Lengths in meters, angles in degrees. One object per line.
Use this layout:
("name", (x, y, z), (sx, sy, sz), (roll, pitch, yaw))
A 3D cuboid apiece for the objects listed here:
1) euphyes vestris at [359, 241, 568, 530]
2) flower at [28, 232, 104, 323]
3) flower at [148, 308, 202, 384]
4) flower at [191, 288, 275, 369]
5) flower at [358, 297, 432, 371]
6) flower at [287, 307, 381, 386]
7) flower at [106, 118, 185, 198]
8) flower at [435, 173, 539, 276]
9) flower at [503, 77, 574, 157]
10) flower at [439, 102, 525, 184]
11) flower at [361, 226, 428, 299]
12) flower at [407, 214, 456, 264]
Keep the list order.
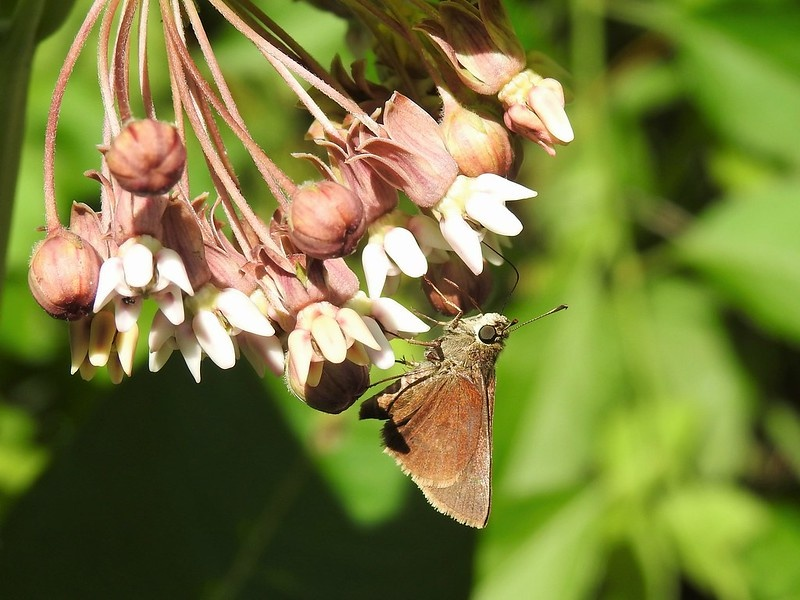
("euphyes vestris", (0.075, 0.197, 1.619), (0.182, 0.428, 0.401), (29, 87, -1))
("flower", (-0.414, -0.024, 1.173), (0.090, 0.106, 0.074), (-17, 38, -16))
("flower", (-0.294, 0.050, 1.225), (0.065, 0.094, 0.026), (-2, 27, -26))
("flower", (-0.208, 0.022, 1.263), (0.040, 0.089, 0.146), (-38, 47, -10))
("flower", (-0.010, 0.041, 1.246), (0.081, 0.036, 0.099), (-39, 63, -21))
("flower", (-0.089, 0.058, 1.204), (0.113, 0.088, 0.068), (-16, 38, -15))
("flower", (-0.297, -0.167, 1.108), (0.074, 0.097, 0.055), (2, 9, -17))
("flower", (0.078, -0.110, 1.293), (0.117, 0.066, 0.179), (3, 10, -34))
("flower", (0.190, -0.255, 1.274), (0.082, 0.050, 0.110), (-36, 79, 2))
("flower", (0.104, -0.210, 1.289), (0.104, 0.053, 0.079), (49, 46, 8))
("flower", (-0.007, -0.038, 1.279), (0.083, 0.096, 0.088), (-7, 37, -3))
("flower", (0.040, -0.087, 1.286), (0.046, 0.073, 0.019), (-35, 3, 16))
